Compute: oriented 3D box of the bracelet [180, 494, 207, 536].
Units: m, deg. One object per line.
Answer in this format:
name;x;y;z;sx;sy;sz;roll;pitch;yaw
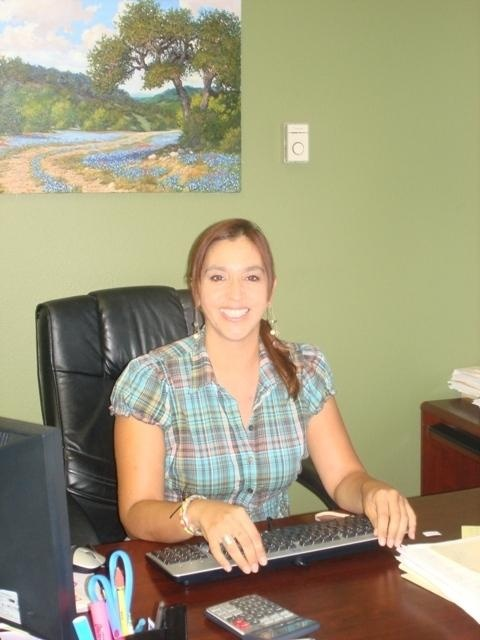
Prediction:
bracelet;-0.072;0.308;0.849;0.020;0.058;0.049;-6;-6;-33
